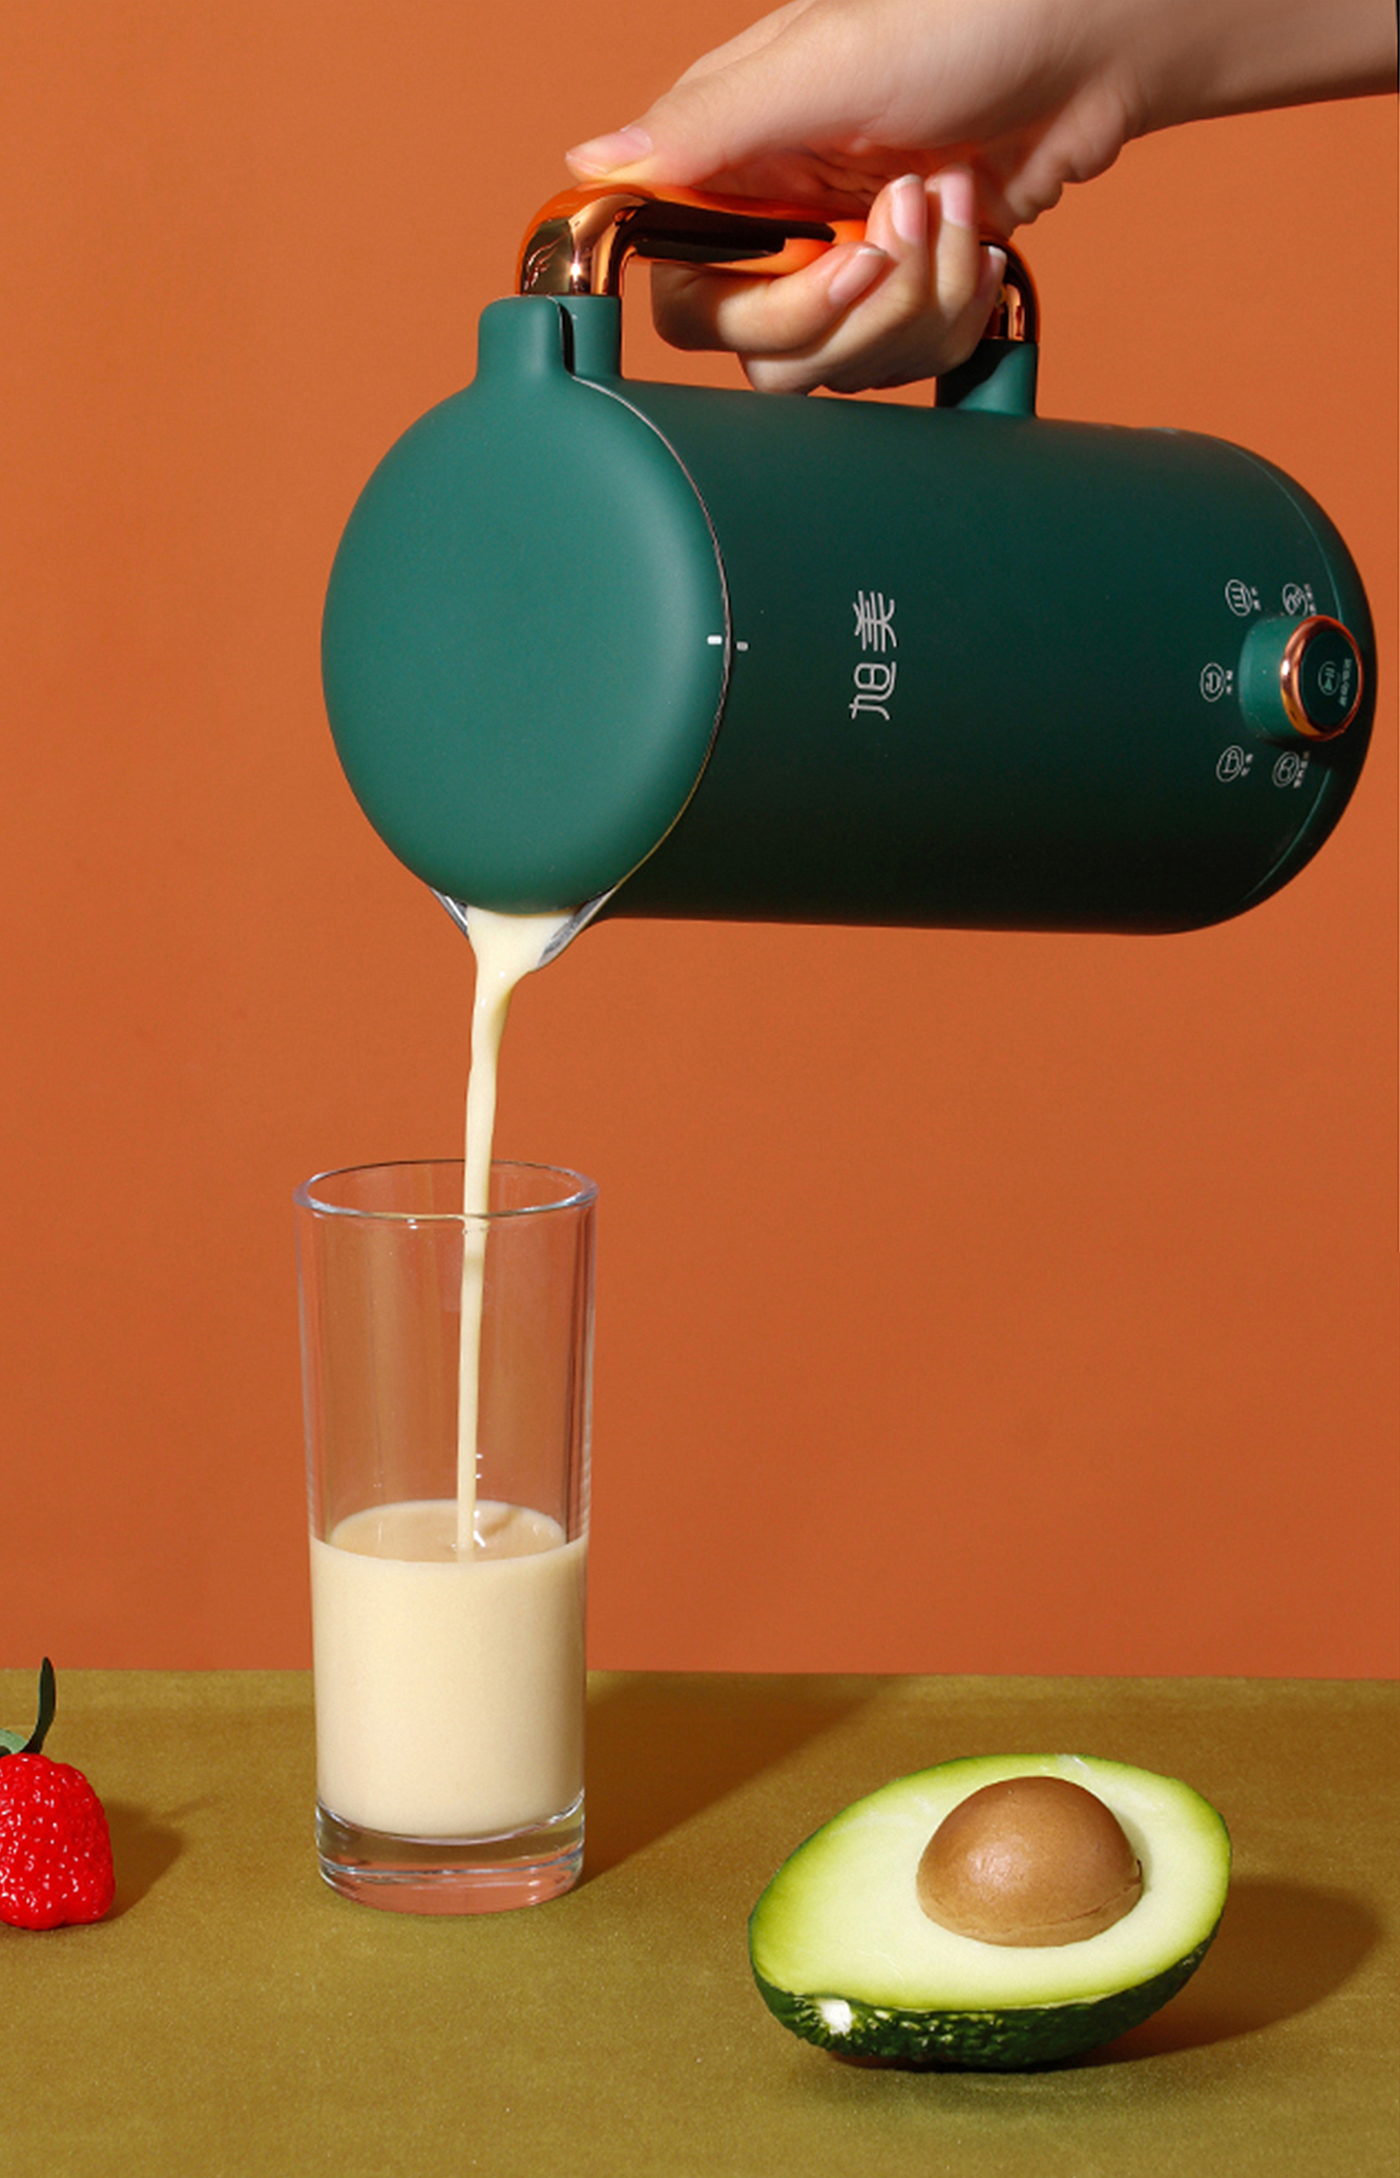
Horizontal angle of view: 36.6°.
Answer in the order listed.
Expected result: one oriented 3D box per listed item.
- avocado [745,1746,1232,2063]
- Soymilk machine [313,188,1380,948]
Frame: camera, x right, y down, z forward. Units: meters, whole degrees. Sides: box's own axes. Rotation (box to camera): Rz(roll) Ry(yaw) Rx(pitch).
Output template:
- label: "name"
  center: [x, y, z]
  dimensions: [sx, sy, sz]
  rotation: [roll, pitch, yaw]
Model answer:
- label: "avocado"
  center: [0.068, 0.191, 0.486]
  dimensions: [0.100, 0.046, 0.115]
  rotation: [0, 1, 20]
- label: "Soymilk machine"
  center: [0.036, -0.130, 0.543]
  dimensions: [0.246, 0.174, 0.136]
  rotation: [-6, 10, -40]
